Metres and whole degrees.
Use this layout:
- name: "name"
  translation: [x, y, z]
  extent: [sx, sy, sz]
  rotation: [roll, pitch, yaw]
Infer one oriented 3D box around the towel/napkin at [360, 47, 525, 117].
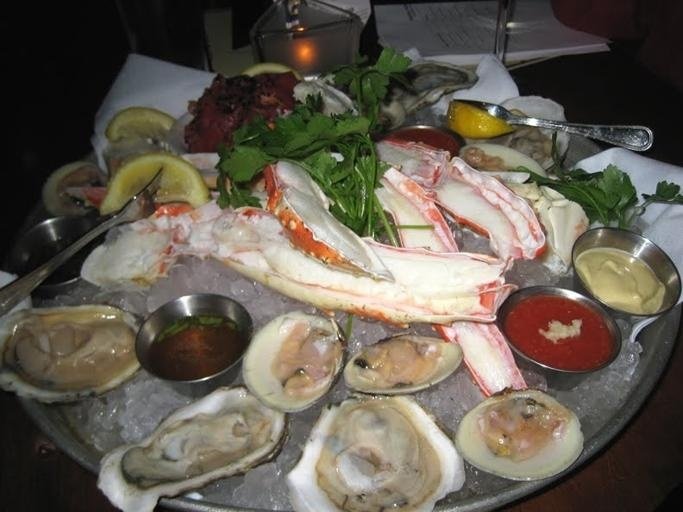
- name: "towel/napkin"
  translation: [0.707, -0.979, 3.174]
  extent: [0.531, 0.140, 0.484]
  rotation: [11, 51, 3]
